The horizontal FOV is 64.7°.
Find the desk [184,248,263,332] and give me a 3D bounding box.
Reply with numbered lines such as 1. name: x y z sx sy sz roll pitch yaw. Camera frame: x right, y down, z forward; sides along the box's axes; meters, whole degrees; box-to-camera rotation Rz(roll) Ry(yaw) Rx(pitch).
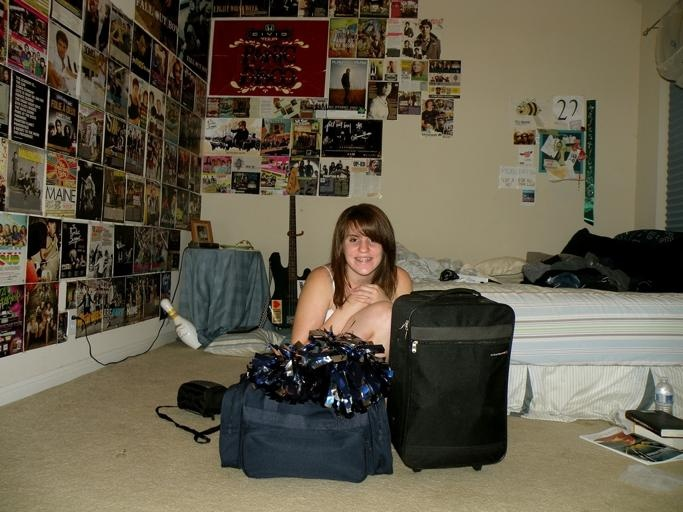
1. desk: -1.012 0.264 4.499 0.669 0.664 0.590 1 -1 -29

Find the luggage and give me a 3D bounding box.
1. luggage: 0.494 0.563 2.575 0.494 0.842 0.454 1 4 -5

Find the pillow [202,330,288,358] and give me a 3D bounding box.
1. pillow: -0.725 0.656 3.981 0.621 0.180 0.367 0 13 -8

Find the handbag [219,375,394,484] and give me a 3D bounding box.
1. handbag: -0.158 0.630 2.435 0.761 0.667 0.402 1 24 2

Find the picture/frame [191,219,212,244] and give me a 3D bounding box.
1. picture/frame: -1.173 -0.197 4.493 0.021 0.223 0.212 -7 -3 30

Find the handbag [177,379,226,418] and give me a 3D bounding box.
1. handbag: -0.760 0.761 2.950 0.249 0.166 0.192 -2 -9 34
